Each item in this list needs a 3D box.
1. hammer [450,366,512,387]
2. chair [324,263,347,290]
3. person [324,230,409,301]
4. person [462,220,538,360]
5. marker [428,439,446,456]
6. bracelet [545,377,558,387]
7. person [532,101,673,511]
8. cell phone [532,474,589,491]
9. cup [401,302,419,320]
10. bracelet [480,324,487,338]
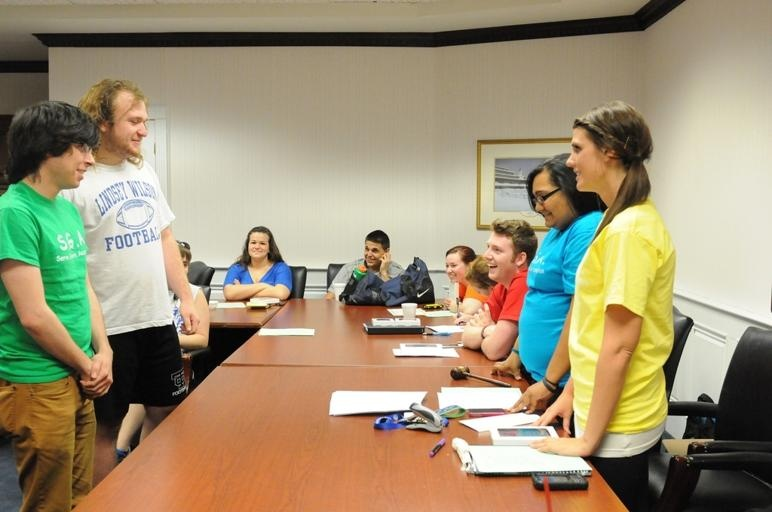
[{"bbox_3d":[0.471,0.604,2.752,0.278,0.059,0.105,5,1,32],"label":"hammer"},{"bbox_3d":[-0.541,0.200,5.771,0.231,0.335,0.245,1,-4,3],"label":"chair"},{"bbox_3d":[-0.172,0.200,5.015,0.679,0.846,0.520,2,7,-12],"label":"person"},{"bbox_3d":[0.687,0.174,3.209,0.442,0.743,0.507,-2,4,-2],"label":"person"},{"bbox_3d":[0.196,0.744,2.142,0.026,0.028,0.102,7,14,14],"label":"marker"},{"bbox_3d":[0.715,0.547,2.401,0.032,0.022,0.042,16,2,-17],"label":"bracelet"},{"bbox_3d":[0.838,0.207,2.074,0.461,1.530,0.373,5,13,19],"label":"person"},{"bbox_3d":[0.620,0.797,1.952,0.167,0.047,0.099,-1,-1,2],"label":"cell phone"},{"bbox_3d":[0.167,0.386,3.894,0.103,0.083,0.108,0,-5,0],"label":"cup"},{"bbox_3d":[0.566,0.444,3.239,0.014,0.052,0.054,8,-4,-9],"label":"bracelet"}]
